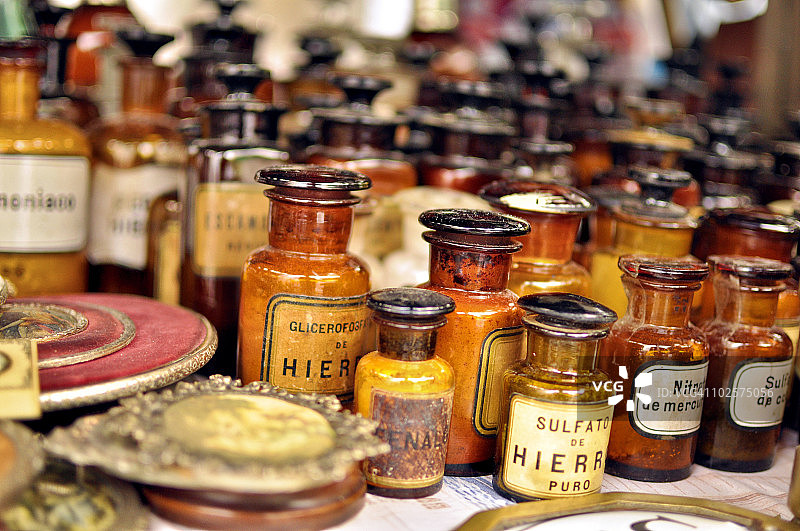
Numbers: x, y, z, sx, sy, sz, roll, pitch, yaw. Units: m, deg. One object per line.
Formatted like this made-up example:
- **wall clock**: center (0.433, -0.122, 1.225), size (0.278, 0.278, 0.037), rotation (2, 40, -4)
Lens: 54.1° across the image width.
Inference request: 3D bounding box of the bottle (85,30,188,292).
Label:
- **bottle**: center (-0.514, -0.196, 1.494), size (0.197, 0.494, 0.139), rotation (-5, 12, -14)

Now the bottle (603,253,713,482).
- **bottle**: center (0.386, 0.154, 1.178), size (0.144, 0.330, 0.121), rotation (2, 12, 17)

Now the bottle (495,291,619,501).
- **bottle**: center (0.221, 0.177, 1.114), size (0.187, 0.283, 0.156), rotation (-2, 11, -3)

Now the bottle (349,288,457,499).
- **bottle**: center (0.006, 0.172, 1.093), size (0.142, 0.283, 0.117), rotation (-2, 12, -1)

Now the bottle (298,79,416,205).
- **bottle**: center (-0.090, -0.274, 1.694), size (0.348, 0.283, 0.269), rotation (3, 17, -1)
